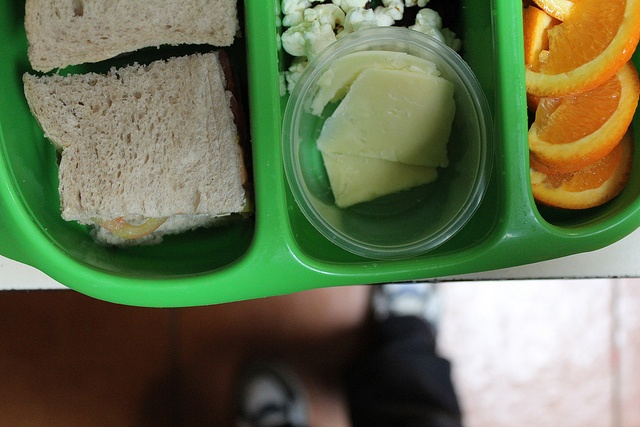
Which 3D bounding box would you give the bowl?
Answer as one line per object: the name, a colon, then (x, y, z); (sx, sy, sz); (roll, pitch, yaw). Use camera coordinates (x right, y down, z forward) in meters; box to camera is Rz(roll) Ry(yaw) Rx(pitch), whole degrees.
bowl: (0.183, -0.197, 1.710); (0.575, 0.101, 0.642); (-2, 87, -1)
